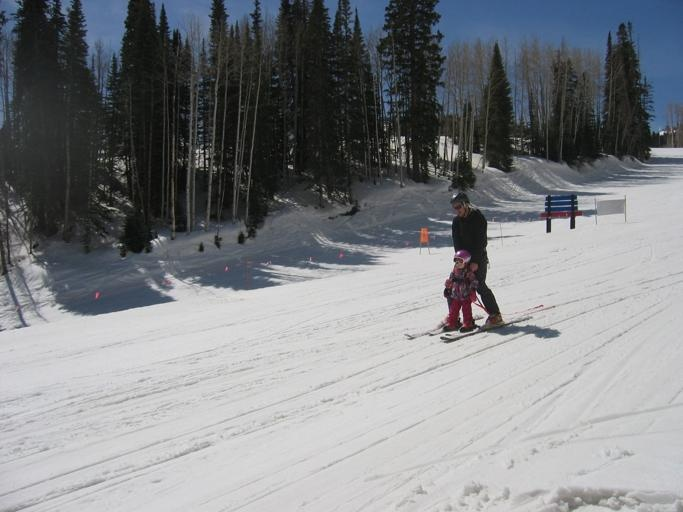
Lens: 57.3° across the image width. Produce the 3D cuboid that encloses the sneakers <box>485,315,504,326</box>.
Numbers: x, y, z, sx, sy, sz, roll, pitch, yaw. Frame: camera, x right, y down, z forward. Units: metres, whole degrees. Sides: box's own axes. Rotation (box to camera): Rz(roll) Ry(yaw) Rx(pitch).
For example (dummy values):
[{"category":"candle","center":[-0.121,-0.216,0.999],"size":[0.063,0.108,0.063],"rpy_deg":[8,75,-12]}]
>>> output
[{"category":"sneakers","center":[3.707,1.537,15.025],"size":[0.476,0.284,0.185],"rpy_deg":[-3,2,-16]}]

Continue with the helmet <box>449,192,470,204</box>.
[{"category":"helmet","center":[2.861,-1.402,15.011],"size":[0.380,0.261,0.276],"rpy_deg":[-2,11,12]}]

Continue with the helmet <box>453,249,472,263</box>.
[{"category":"helmet","center":[2.910,0.020,14.943],"size":[0.346,0.294,0.263],"rpy_deg":[31,-14,-5]}]
